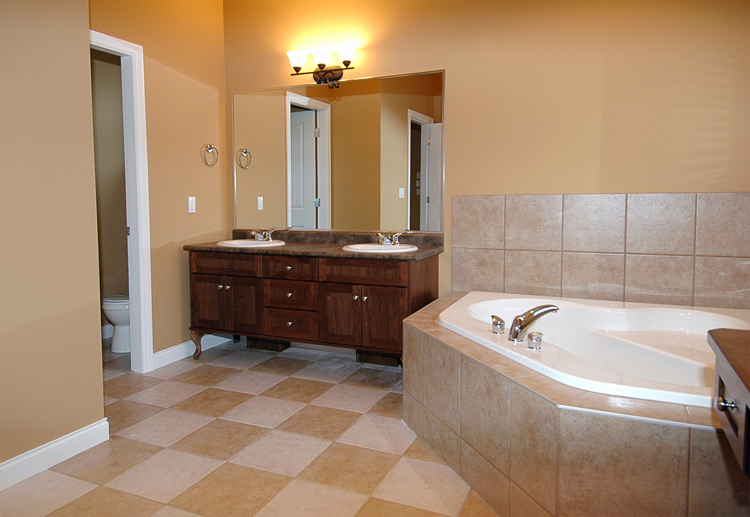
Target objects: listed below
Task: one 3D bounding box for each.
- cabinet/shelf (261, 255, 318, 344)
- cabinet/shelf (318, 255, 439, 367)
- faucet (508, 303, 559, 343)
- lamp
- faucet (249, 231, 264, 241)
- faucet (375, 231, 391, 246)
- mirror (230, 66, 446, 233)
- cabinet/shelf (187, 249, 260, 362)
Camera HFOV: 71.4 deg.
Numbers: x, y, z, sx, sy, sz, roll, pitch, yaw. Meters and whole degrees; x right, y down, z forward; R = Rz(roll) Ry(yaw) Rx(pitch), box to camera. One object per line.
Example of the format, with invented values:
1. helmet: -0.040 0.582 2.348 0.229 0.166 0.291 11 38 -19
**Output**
1. cabinet/shelf: -0.632 0.299 4.275 0.544 0.672 0.486 5 10 22
2. cabinet/shelf: 0.062 0.386 4.197 0.929 0.864 0.735 0 4 24
3. faucet: 0.870 0.336 2.869 0.375 0.148 0.083 -13 25 -27
4. lamp: -0.442 -1.592 4.428 0.592 0.305 0.180 -3 2 10
5. faucet: -1.069 -0.206 4.672 0.097 0.061 0.134 3 2 -6
6. faucet: 0.064 -0.169 4.266 0.115 0.053 0.151 1 5 -3
7. mirror: -0.383 -0.884 4.463 1.903 1.306 0.246 4 16 19
8. cabinet/shelf: -1.396 0.408 4.455 0.671 0.911 0.557 8 -17 -42
